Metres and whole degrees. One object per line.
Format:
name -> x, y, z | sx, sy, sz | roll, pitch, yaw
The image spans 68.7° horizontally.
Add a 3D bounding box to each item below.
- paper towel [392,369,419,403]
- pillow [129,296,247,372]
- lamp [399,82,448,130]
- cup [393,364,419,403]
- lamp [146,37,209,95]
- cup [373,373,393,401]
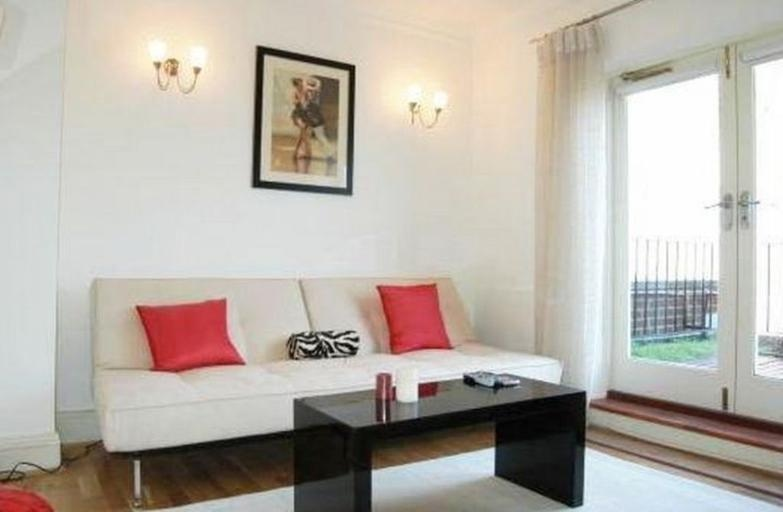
paper towel -> 0.090, 0.713, 3.194 | 0.155, 0.165, 0.151 | -3, -2, 3
pillow -> -1.352, 0.529, 3.871 | 0.637, 0.410, 0.367 | -2, 7, -23
lamp -> 0.331, -1.385, 5.303 | 0.468, 0.388, 0.149 | -5, 9, -41
cup -> 0.085, 0.716, 3.190 | 0.152, 0.159, 0.147 | 0, -4, 0
lamp -> -1.634, -1.447, 4.354 | 0.426, 0.328, 0.140 | 6, 6, -3
cup -> -0.039, 0.717, 3.156 | 0.135, 0.145, 0.134 | 0, -2, 0
